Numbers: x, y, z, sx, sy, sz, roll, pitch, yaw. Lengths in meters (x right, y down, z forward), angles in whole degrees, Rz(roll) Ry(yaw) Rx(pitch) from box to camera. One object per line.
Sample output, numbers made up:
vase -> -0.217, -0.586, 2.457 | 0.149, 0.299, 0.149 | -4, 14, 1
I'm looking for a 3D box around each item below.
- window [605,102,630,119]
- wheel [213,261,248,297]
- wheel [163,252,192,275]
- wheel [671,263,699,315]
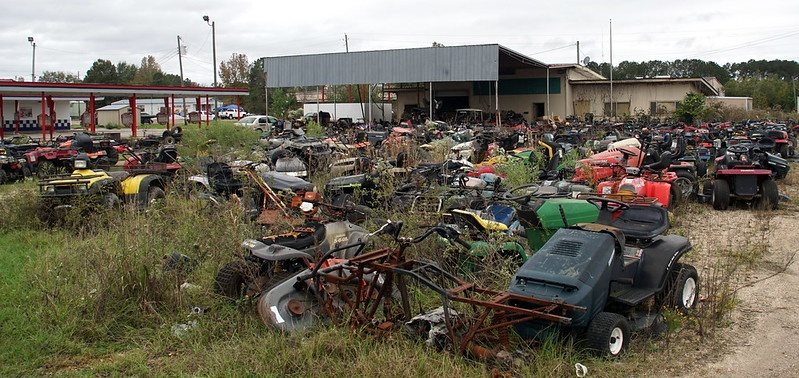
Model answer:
window -> 12.869, -4.632, 31.286 | 1.312, 0.747, 0.144 | 4, 12, 24
wheel -> -3.048, 1.915, 9.554 | 0.403, 1.000, 1.032 | 8, -17, -17
wheel -> -4.098, 1.369, 9.852 | 0.347, 0.382, 0.442 | 43, 2, -43
wheel -> 4.794, 1.706, 8.980 | 0.272, 0.746, 0.806 | 0, 15, 44
